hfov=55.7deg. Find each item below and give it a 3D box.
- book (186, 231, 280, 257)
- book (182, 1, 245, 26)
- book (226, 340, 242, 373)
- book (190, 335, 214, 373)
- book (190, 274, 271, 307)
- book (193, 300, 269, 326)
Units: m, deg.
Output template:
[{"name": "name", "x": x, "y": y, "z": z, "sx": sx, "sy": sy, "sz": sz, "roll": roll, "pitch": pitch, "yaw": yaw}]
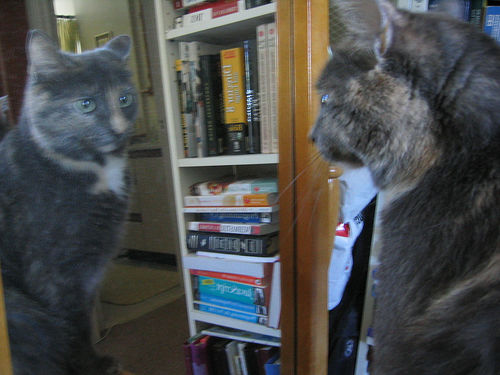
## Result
[{"name": "book", "x": -0.054, "y": 0.195, "z": 1.768, "sx": 0.396, "sy": 0.068, "sz": 0.386, "roll": 4, "pitch": 0, "yaw": -33}, {"name": "book", "x": -0.117, "y": -0.566, "z": 1.536, "sx": 0.109, "sy": 0.025, "sz": 0.105, "roll": -11, "pitch": 2, "yaw": 24}, {"name": "book", "x": -0.066, "y": 0.607, "z": 1.696, "sx": 0.032, "sy": 0.093, "sz": 0.095, "roll": 0, "pitch": 3, "yaw": -1}, {"name": "book", "x": -0.172, "y": 0.579, "z": 1.666, "sx": 0.080, "sy": 0.102, "sz": 0.032, "roll": -3, "pitch": 6, "yaw": -33}, {"name": "book", "x": -0.059, "y": 0.355, "z": 1.652, "sx": 0.157, "sy": 0.035, "sz": 0.147, "roll": 3, "pitch": -1, "yaw": 22}, {"name": "book", "x": -0.125, "y": 0.446, "z": 1.763, "sx": 0.263, "sy": 0.047, "sz": 0.264, "roll": 9, "pitch": -10, "yaw": 16}]
